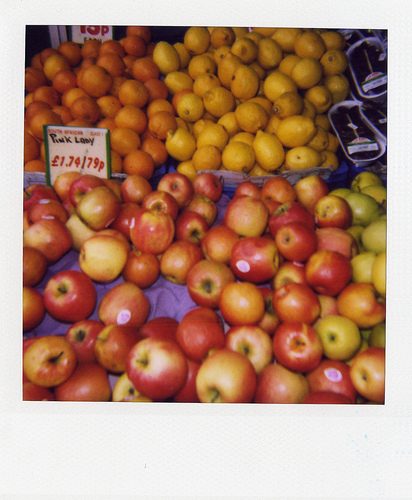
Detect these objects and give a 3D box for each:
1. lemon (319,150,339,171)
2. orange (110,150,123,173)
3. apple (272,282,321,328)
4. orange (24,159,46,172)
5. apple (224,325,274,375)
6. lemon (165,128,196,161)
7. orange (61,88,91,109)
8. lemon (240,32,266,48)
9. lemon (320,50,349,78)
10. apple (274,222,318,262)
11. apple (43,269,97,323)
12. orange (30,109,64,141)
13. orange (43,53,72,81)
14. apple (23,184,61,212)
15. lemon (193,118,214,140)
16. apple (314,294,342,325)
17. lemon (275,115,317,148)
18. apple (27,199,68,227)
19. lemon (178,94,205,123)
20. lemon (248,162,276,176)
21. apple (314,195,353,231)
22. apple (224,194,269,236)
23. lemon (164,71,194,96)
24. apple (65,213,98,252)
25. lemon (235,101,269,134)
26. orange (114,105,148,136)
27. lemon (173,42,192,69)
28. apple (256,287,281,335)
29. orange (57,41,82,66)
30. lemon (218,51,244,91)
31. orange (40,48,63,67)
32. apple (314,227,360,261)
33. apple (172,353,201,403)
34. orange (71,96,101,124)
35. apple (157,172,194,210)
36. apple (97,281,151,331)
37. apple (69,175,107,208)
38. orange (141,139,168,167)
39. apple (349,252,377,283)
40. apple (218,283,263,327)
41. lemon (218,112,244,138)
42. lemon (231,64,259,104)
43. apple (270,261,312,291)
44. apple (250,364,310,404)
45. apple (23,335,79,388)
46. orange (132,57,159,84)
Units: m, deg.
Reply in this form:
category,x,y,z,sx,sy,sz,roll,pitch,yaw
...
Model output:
category,x,y,z,sx,sy,sz,roll,pitch,yaw
lemon,0.617,-0.447,2.144,0.085,0.101,0.084,-18,35,-24
orange,-0.423,-0.416,2.004,0.043,0.111,0.108,-5,7,6
apple,0.336,0.204,1.602,0.149,0.178,0.160,-19,19,30
orange,-0.794,-0.388,1.985,0.080,0.044,0.081,6,36,13
apple,0.167,0.349,1.549,0.174,0.176,0.169,0,-9,12
lemon,-0.127,-0.519,2.102,0.154,0.154,0.093,-6,7,5
orange,-0.677,-0.771,2.189,0.130,0.113,0.110,-2,-8,-12
lemon,0.266,-1.131,2.323,0.105,0.064,0.080,5,10,35
lemon,0.698,-1.019,2.377,0.136,0.132,0.157,-6,3,5
apple,0.368,-0.023,1.714,0.183,0.183,0.195,1,-13,-3
apple,-0.511,0.179,1.684,0.191,0.193,0.194,-4,-4,7
orange,-0.770,-0.602,2.028,0.157,0.142,0.114,-7,7,-5
orange,-0.785,-0.961,2.287,0.150,0.175,0.152,0,19,0
apple,-0.716,-0.216,1.829,0.117,0.119,0.141,-2,6,30
lemon,-0.009,-0.636,2.247,0.097,0.098,0.095,-1,21,12
apple,0.468,0.223,1.643,0.100,0.116,0.098,-2,13,10
lemon,0.441,-0.552,2.108,0.174,0.135,0.133,-31,-11,13
apple,-0.666,-0.146,1.817,0.126,0.126,0.124,5,40,48
lemon,-0.065,-0.719,2.229,0.126,0.152,0.129,2,-9,19
lemon,0.260,-0.385,2.041,0.077,0.077,0.092,8,23,9
apple,0.533,-0.157,1.851,0.143,0.151,0.145,0,-28,-21
apple,0.166,-0.135,1.819,0.162,0.173,0.168,12,-33,-8
lemon,-0.157,-0.933,2.422,0.149,0.118,0.113,24,9,3
apple,-0.518,-0.080,1.816,0.125,0.151,0.125,20,41,37
lemon,0.231,-0.652,2.106,0.164,0.153,0.122,-6,7,0
orange,-0.383,-0.629,2.188,0.145,0.161,0.138,3,-10,-27
lemon,-0.131,-1.126,2.461,0.101,0.123,0.102,14,36,22
apple,0.222,0.220,1.674,0.123,0.132,0.125,2,3,43
orange,-0.738,-1.070,2.320,0.097,0.098,0.097,-13,-10,12
lemon,0.124,-0.930,2.273,0.131,0.139,0.178,-2,-14,21
orange,-0.833,-1.028,2.293,0.092,0.111,0.090,17,46,6
apple,0.527,-0.034,1.722,0.186,0.148,0.144,4,-8,6
apple,-0.069,0.452,1.537,0.129,0.130,0.155,-10,-35,3
orange,-0.594,-0.680,2.075,0.114,0.113,0.115,-25,48,9
apple,-0.120,-0.266,1.889,0.150,0.155,0.154,19,-2,-16
apple,-0.355,0.199,1.668,0.173,0.190,0.161,12,14,4
apple,-0.507,-0.260,1.825,0.132,0.137,0.128,-24,3,30
orange,-0.242,-0.486,2.168,0.133,0.141,0.142,-10,4,5
apple,0.618,0.074,1.739,0.111,0.130,0.100,-3,-12,-14
apple,0.130,0.201,1.621,0.159,0.158,0.155,-6,14,18
lemon,0.125,-0.639,2.153,0.126,0.153,0.127,-2,1,6
lemon,0.200,-0.838,2.203,0.128,0.136,0.174,6,-30,3
apple,0.350,0.094,1.720,0.114,0.119,0.122,-9,15,31
apple,0.274,0.488,1.599,0.155,0.156,0.182,-44,-36,18
apple,-0.555,0.387,1.573,0.179,0.186,0.213,3,-5,-20
orange,-0.333,-0.983,2.391,0.138,0.139,0.132,-4,9,2
